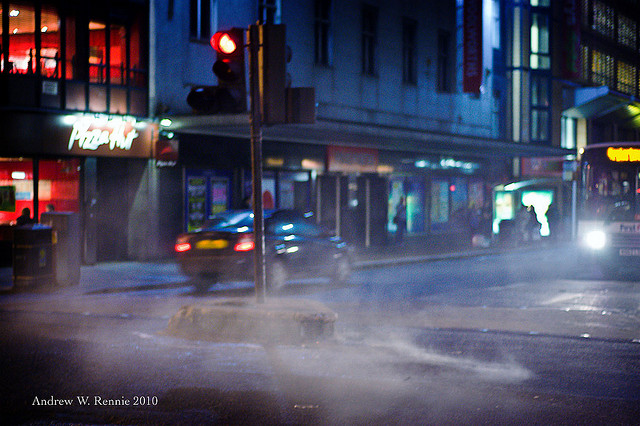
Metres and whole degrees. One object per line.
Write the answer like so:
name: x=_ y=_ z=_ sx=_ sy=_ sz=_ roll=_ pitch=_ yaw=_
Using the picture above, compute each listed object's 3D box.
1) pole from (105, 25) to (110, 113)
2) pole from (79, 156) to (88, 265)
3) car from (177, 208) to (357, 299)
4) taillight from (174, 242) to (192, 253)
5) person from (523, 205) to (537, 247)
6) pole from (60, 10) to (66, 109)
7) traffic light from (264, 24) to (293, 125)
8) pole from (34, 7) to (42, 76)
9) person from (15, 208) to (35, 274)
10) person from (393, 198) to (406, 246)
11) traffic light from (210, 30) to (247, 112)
pole: x=-6.934 y=-4.853 z=26.475 sx=0.217 sy=2.895 sz=0.718 roll=-2 pitch=7 yaw=-15
pole: x=-7.623 y=-0.171 z=26.093 sx=0.226 sy=3.316 sz=0.607 roll=-1 pitch=7 yaw=-11
car: x=-1.307 y=1.029 z=20.602 sx=4.438 sy=2.148 sz=1.377 roll=-3 pitch=8 yaw=-27
taillight: x=-3.391 y=0.858 z=20.165 sx=0.530 sy=0.275 sz=0.136 roll=5 pitch=9 yaw=31
person: x=9.358 y=0.585 z=35.394 sx=0.469 sy=1.445 sz=1.300 roll=3 pitch=8 yaw=23
pole: x=-8.080 y=-5.073 z=25.499 sx=0.161 sy=2.863 sz=0.530 roll=-2 pitch=8 yaw=-17
traffic light: x=-0.728 y=-2.654 z=15.349 sx=0.480 sy=1.822 sz=0.335 roll=-2 pitch=10 yaw=-5
pole: x=-8.726 y=-5.439 z=25.079 sx=0.208 sy=2.146 sz=0.561 roll=-1 pitch=7 yaw=-9
person: x=-7.660 y=0.698 z=21.096 sx=0.496 sy=1.397 sz=2.428 roll=-2 pitch=8 yaw=-17
person: x=3.486 y=0.343 z=34.325 sx=0.451 sy=2.024 sz=0.677 roll=1 pitch=7 yaw=4
traffic light: x=-1.657 y=-2.714 z=15.081 sx=0.634 sy=1.554 sz=0.552 roll=-1 pitch=7 yaw=-10
